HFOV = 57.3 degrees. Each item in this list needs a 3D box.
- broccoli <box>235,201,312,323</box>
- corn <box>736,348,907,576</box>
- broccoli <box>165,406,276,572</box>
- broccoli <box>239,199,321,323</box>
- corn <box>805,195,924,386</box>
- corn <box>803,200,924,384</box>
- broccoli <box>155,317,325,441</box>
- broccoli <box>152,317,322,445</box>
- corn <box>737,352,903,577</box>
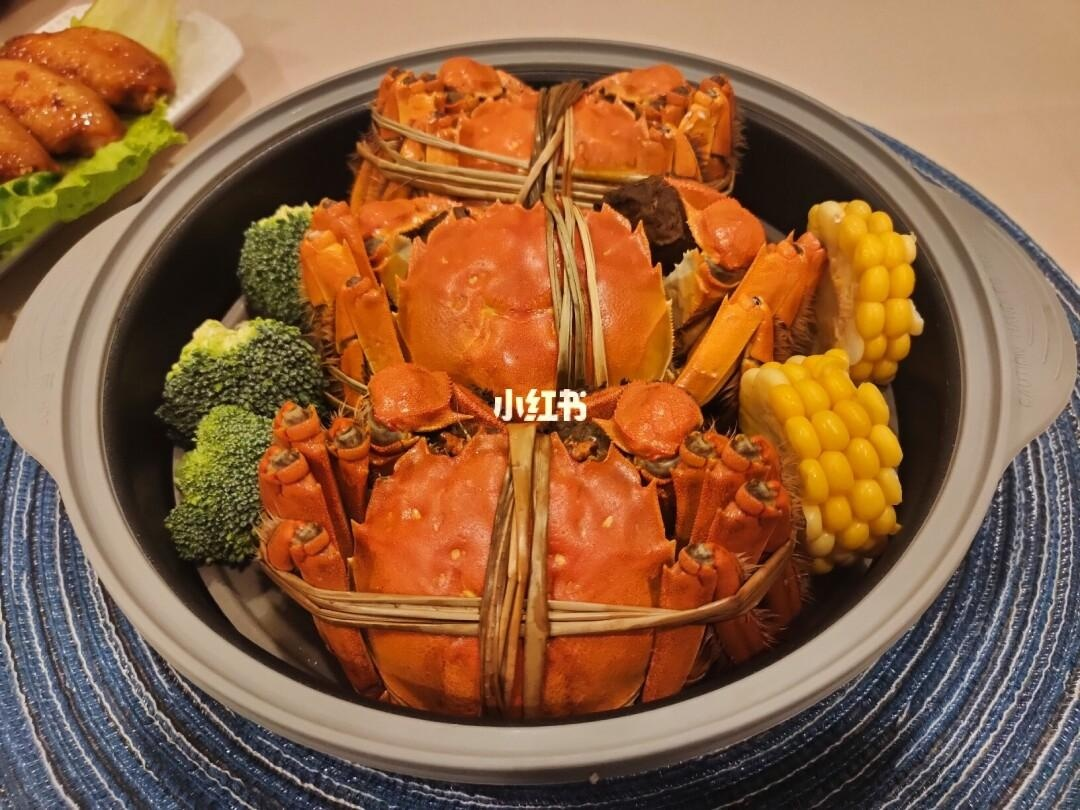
[{"bbox_3d":[-0.550,-0.285,2.014,0.178,0.095,0.217,3,91,-1],"label":"broccoli"},{"bbox_3d":[0.531,0.095,1.859,0.258,0.169,0.393,-11,86,4],"label":"corn"},{"bbox_3d":[-0.593,0.156,1.821,0.195,0.125,0.292,0,74,-13],"label":"broccoli"},{"bbox_3d":[-0.551,-0.288,2.017,0.176,0.095,0.217,2,91,-6],"label":"broccoli"},{"bbox_3d":[0.651,-0.224,1.937,0.223,0.127,0.332,-18,92,31],"label":"corn"},{"bbox_3d":[0.638,-0.206,1.878,0.120,0.183,0.316,5,75,-39],"label":"corn"},{"bbox_3d":[-0.574,-0.059,1.915,0.218,0.151,0.264,4,67,-6],"label":"broccoli"},{"bbox_3d":[-0.629,-0.067,2.029,0.297,0.347,0.210,-8,77,12],"label":"broccoli"},{"bbox_3d":[0.506,0.100,1.789,0.252,0.169,0.384,-14,64,-3],"label":"corn"}]
